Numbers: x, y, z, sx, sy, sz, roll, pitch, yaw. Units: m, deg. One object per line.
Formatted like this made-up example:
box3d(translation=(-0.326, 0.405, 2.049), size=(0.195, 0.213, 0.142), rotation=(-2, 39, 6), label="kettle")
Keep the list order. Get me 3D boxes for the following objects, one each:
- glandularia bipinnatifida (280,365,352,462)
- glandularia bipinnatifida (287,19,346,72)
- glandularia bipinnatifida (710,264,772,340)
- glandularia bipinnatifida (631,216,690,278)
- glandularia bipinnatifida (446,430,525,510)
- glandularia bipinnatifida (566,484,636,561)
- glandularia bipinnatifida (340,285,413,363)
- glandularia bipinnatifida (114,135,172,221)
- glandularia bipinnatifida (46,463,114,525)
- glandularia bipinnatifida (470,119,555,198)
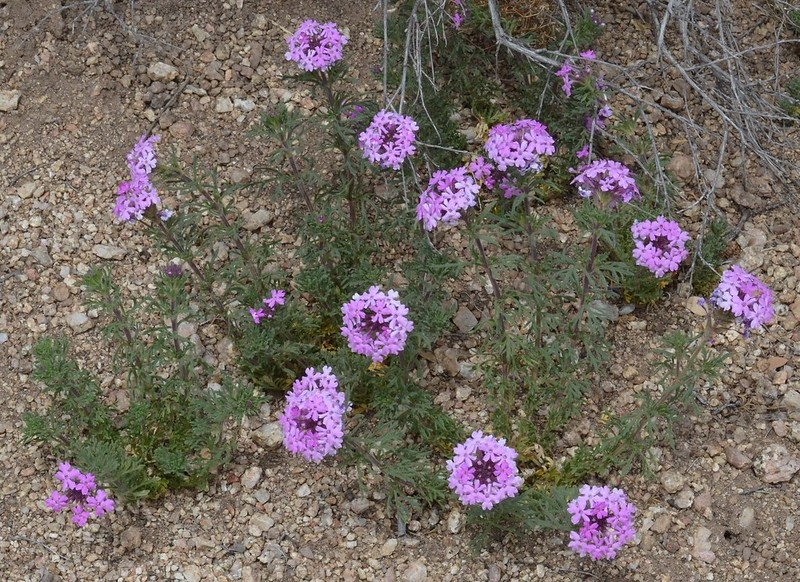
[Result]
box3d(translation=(-0.472, 0.697, 4.427), size=(0.200, 0.426, 0.504), rotation=(8, 75, 4), label="glandularia bipinnatifida")
box3d(translation=(-0.529, -1.518, 4.818), size=(0.347, 0.076, 0.317), rotation=(4, 79, 7), label="glandularia bipinnatifida")
box3d(translation=(1.936, 0.088, 4.531), size=(0.352, 0.124, 0.382), rotation=(-33, 85, -11), label="glandularia bipinnatifida")
box3d(translation=(1.584, -0.276, 4.740), size=(0.318, 0.125, 0.347), rotation=(3, 79, 7), label="glandularia bipinnatifida")
box3d(translation=(0.467, 1.004, 4.358), size=(0.408, 0.129, 0.391), rotation=(-32, 77, 0), label="glandularia bipinnatifida")
box3d(translation=(1.122, 1.304, 4.370), size=(0.381, 0.150, 0.449), rotation=(-6, 94, -5), label="glandularia bipinnatifida")
box3d(translation=(-0.130, 0.165, 4.520), size=(0.406, 0.142, 0.418), rotation=(-45, 82, 17), label="glandularia bipinnatifida")
box3d(translation=(-1.611, -0.707, 4.789), size=(0.369, 0.181, 0.648), rotation=(10, 73, -33), label="glandularia bipinnatifida")
box3d(translation=(-1.893, 1.207, 4.660), size=(0.405, 0.154, 0.462), rotation=(-6, 85, -2), label="glandularia bipinnatifida")
box3d(translation=(0.760, -0.848, 5.113), size=(0.441, 0.480, 0.500), rotation=(-22, 65, 1), label="glandularia bipinnatifida")
